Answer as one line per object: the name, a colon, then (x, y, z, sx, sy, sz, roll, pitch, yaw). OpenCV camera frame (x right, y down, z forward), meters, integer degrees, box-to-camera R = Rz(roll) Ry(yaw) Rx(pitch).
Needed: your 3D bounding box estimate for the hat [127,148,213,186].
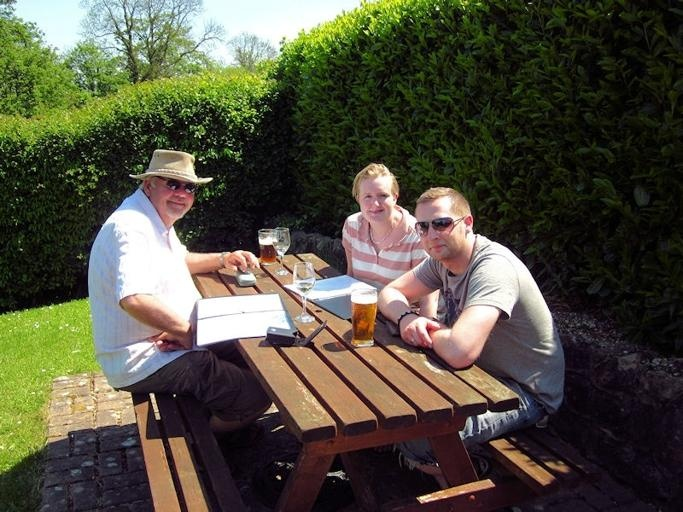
hat: (-1.237, -0.658, 3.644, 0.558, 0.246, 0.624, 6, -4, -39)

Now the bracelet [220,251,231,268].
bracelet: (-0.967, 0.027, 4.083, 0.085, 0.117, 0.121, 0, 9, -12)

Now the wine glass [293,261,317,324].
wine glass: (-0.232, 0.220, 3.044, 0.158, 0.397, 0.150, -8, 20, -21)

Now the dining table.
dining table: (0.099, 0.626, 2.366, 0.799, 0.452, 1.657, -5, 25, -25)

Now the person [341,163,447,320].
person: (0.253, -0.069, 3.843, 0.900, 1.274, 0.883, -7, 28, -10)

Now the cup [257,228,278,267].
cup: (-0.663, -0.082, 4.333, 0.179, 0.303, 0.183, 1, 6, 0)

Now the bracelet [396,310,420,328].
bracelet: (0.389, 0.357, 2.852, 0.092, 0.027, 0.101, -37, -10, 28)
